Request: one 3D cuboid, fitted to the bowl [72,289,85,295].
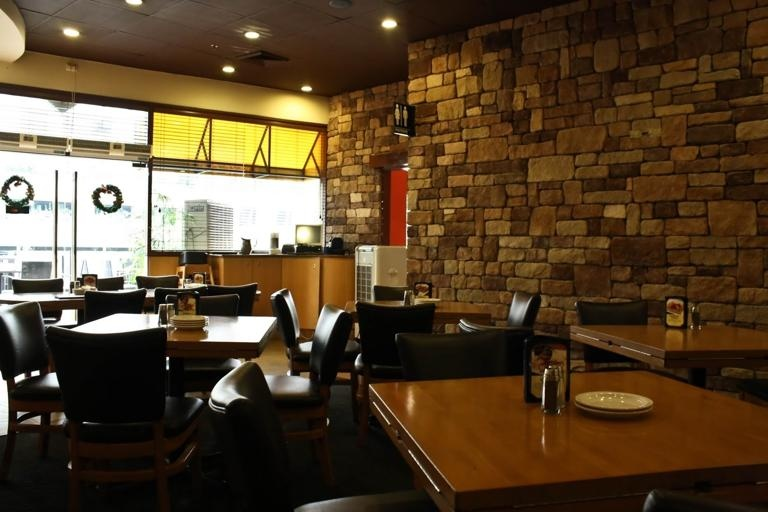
[{"bbox_3d":[-3.076,0.359,6.014,0.104,0.023,0.105,2,5,0],"label":"bowl"}]

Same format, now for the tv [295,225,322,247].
[{"bbox_3d":[-1.165,-0.341,9.305,0.408,0.339,0.382,-1,2,-9],"label":"tv"}]

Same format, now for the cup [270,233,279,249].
[{"bbox_3d":[-1.651,-0.233,9.076,0.114,0.241,0.066,-2,2,-34],"label":"cup"}]

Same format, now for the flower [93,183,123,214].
[{"bbox_3d":[-3.598,-0.768,7.771,0.386,0.362,0.143,-2,7,-28],"label":"flower"}]
